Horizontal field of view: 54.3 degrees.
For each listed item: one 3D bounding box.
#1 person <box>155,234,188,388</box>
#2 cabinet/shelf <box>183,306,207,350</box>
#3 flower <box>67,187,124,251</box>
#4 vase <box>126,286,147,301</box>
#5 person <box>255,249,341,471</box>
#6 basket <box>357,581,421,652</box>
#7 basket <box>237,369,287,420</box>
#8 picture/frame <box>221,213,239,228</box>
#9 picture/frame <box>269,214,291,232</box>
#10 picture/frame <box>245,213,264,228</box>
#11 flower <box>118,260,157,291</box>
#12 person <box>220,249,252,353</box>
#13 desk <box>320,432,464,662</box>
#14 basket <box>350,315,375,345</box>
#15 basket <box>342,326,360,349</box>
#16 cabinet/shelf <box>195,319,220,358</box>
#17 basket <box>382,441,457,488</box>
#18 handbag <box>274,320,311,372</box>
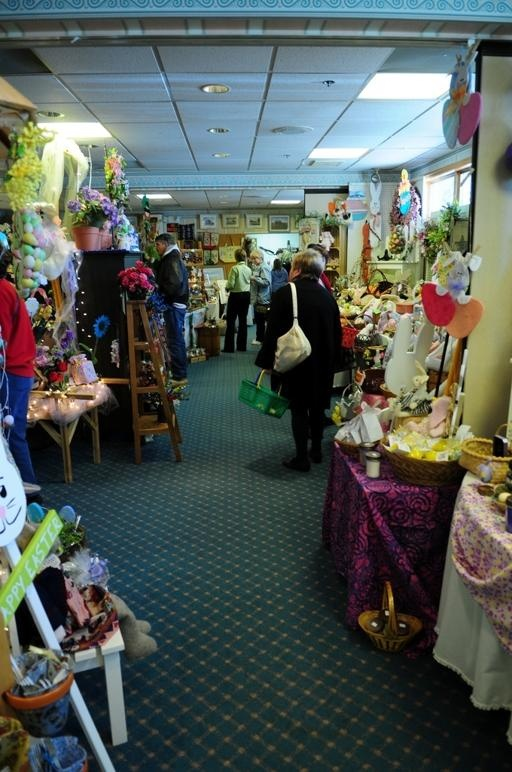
[{"bbox_3d":[-1.077,-1.014,6.589,0.452,1.889,0.399,-7,11,-29],"label":"person"},{"bbox_3d":[-1.200,-1.118,9.474,0.214,0.726,0.567,4,8,16],"label":"cabinet/shelf"},{"bbox_3d":[-1.386,-1.428,4.330,0.418,0.501,0.449,-4,10,-16],"label":"flower"},{"bbox_3d":[-0.957,-0.744,4.029,0.122,0.155,0.118,15,19,38],"label":"vase"},{"bbox_3d":[0.349,-0.163,3.725,0.483,1.672,0.702,5,11,35],"label":"person"},{"bbox_3d":[0.509,0.885,1.936,0.222,0.217,0.225,-6,6,-43],"label":"basket"},{"bbox_3d":[0.048,0.091,4.306,0.430,0.419,0.157,26,7,4],"label":"basket"},{"bbox_3d":[-0.792,-4.879,14.622,0.380,0.361,0.039,0,18,-5],"label":"picture/frame"},{"bbox_3d":[0.659,-4.902,14.883,0.478,0.419,0.039,0,7,-7],"label":"picture/frame"},{"bbox_3d":[-0.100,-4.911,14.710,0.397,0.377,0.032,0,11,-11],"label":"picture/frame"},{"bbox_3d":[-0.988,-0.908,4.123,0.262,0.265,0.373,-4,10,-12],"label":"flower"},{"bbox_3d":[-0.377,-1.567,10.028,0.595,1.813,1.106,-2,9,-2],"label":"person"},{"bbox_3d":[0.556,0.582,2.260,0.388,0.401,0.711,2,6,5],"label":"desk"},{"bbox_3d":[1.022,-0.541,4.823,0.204,0.242,0.627,16,9,7],"label":"basket"},{"bbox_3d":[0.992,-0.525,5.384,0.227,0.218,0.341,0,6,1],"label":"basket"},{"bbox_3d":[-0.933,-0.922,9.912,0.717,0.868,0.568,-1,1,2],"label":"cabinet/shelf"},{"bbox_3d":[0.635,0.306,1.916,0.172,0.065,0.160,6,15,26],"label":"basket"},{"bbox_3d":[0.240,-0.291,3.414,0.235,0.298,0.143,-24,36,-33],"label":"handbag"}]
